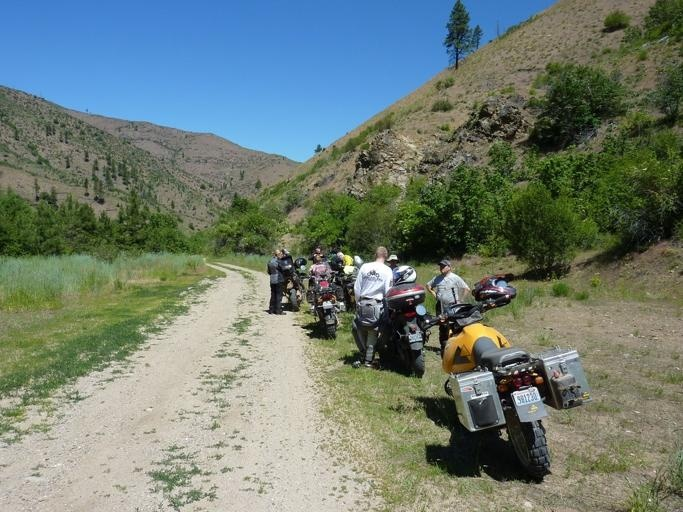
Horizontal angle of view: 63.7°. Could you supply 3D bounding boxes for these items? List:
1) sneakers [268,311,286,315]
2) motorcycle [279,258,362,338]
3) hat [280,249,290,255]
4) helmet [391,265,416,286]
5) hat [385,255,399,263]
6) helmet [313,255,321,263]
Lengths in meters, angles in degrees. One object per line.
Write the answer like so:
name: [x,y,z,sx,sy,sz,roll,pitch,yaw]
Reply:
sneakers: [-2.195,1.970,18.869,0.553,0.227,0.208,-2,15,-3]
motorcycle: [-0.826,1.229,16.620,1.328,1.586,2.774,-5,17,-4]
hat: [-2.025,-0.148,19.385,0.214,0.142,0.385,0,-3,-15]
helmet: [1.412,0.433,12.408,0.496,0.403,0.378,1,-6,10]
hat: [1.440,0.085,15.851,0.347,0.152,0.485,1,-7,2]
helmet: [-0.816,0.098,18.437,0.216,0.271,0.238,3,10,-18]
